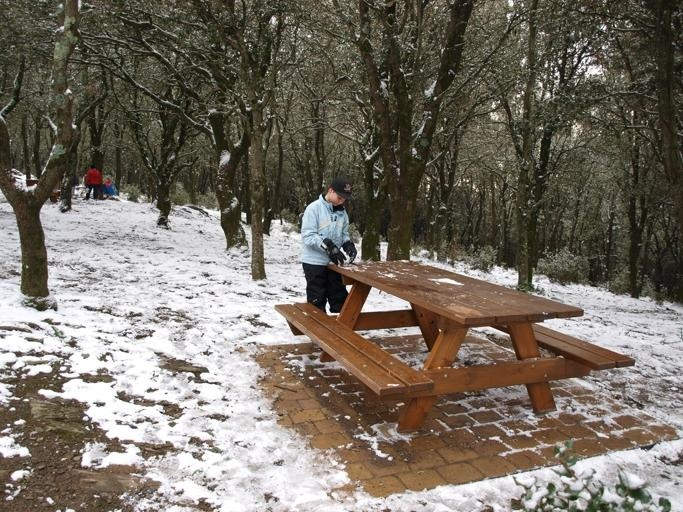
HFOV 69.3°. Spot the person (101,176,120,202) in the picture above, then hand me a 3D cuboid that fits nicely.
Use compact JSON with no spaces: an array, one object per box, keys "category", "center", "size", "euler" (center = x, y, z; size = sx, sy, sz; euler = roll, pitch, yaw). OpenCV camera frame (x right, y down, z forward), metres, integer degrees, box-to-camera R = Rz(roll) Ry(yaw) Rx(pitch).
[{"category":"person","center":[-11.739,-3.371,25.168],"size":[0.868,1.164,2.823],"euler":[-4,5,-35]}]

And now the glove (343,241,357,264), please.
[{"category":"glove","center":[0.154,-0.065,6.774],"size":[0.158,0.169,0.318],"euler":[-12,23,-8]}]
